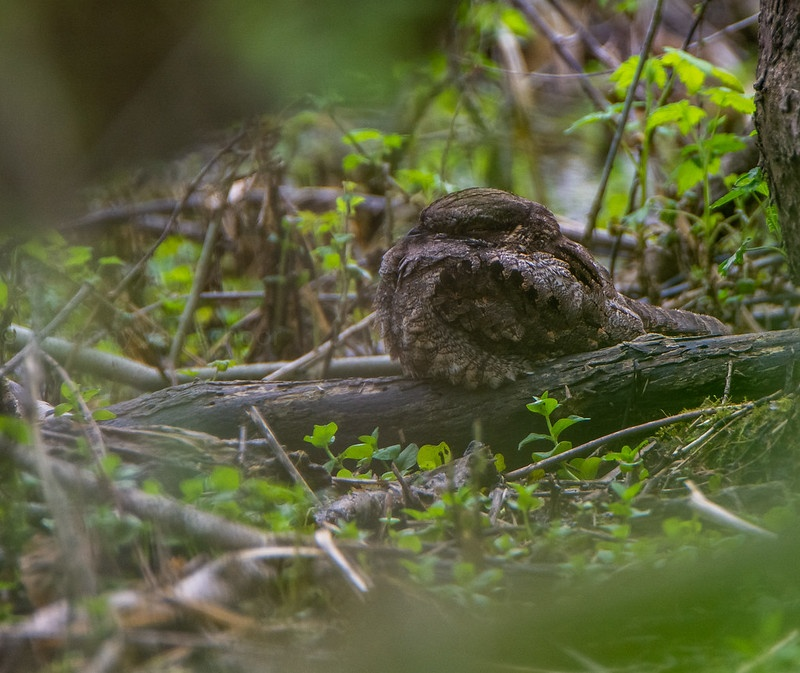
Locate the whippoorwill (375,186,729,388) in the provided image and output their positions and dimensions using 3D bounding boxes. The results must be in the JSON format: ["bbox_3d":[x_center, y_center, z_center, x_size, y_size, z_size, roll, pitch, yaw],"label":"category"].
[{"bbox_3d":[0.362,-0.150,3.118,0.864,0.551,0.306,-6,9,-2],"label":"whippoorwill"}]
